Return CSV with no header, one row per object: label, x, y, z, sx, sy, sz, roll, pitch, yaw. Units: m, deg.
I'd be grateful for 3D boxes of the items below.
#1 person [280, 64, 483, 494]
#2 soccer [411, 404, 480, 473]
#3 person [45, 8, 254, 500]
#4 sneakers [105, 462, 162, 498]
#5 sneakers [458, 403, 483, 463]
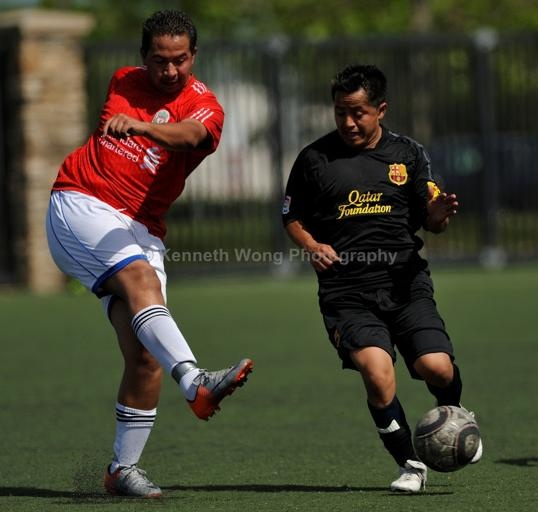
person,0.562,0.089,5.136,0.683,2.102,0.809,-6,7,-32
soccer,0.835,0.860,4.816,0.306,0.274,0.218,-2,6,6
person,-0.566,0.017,4.837,0.681,2.350,1.156,-7,7,-35
sneakers,-0.656,1.079,4.918,0.394,0.134,0.152,-3,-6,44
sneakers,0.999,0.885,5.070,0.159,0.405,0.170,-4,44,6
